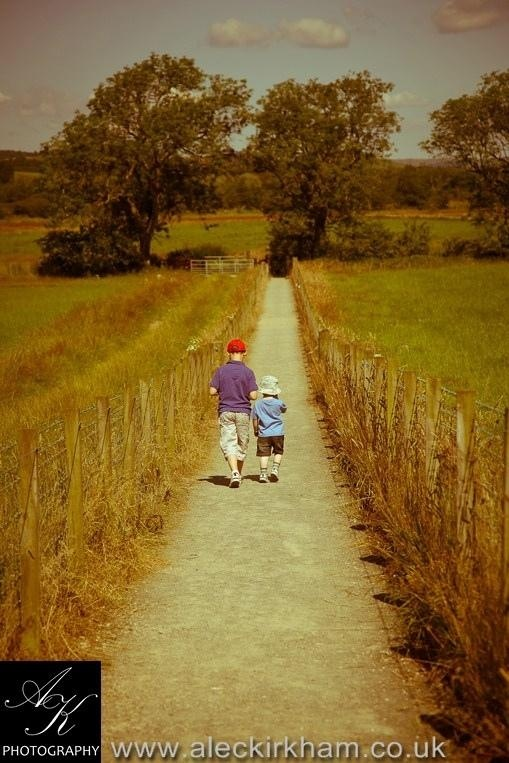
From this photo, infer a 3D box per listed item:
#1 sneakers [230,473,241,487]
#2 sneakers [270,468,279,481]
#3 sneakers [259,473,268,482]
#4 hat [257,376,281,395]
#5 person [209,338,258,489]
[{"bbox_3d":[-0.213,1.071,8.222,0.121,0.170,0.313,-1,4,0],"label":"sneakers"},{"bbox_3d":[0.225,1.058,8.427,0.059,0.175,0.080,0,45,4],"label":"sneakers"},{"bbox_3d":[0.106,1.076,8.477,0.102,0.113,0.253,-1,4,1],"label":"sneakers"},{"bbox_3d":[0.175,0.052,8.690,0.208,0.136,0.234,2,7,4],"label":"hat"},{"bbox_3d":[-0.236,0.333,8.540,0.531,1.627,1.042,-1,4,-3],"label":"person"}]
